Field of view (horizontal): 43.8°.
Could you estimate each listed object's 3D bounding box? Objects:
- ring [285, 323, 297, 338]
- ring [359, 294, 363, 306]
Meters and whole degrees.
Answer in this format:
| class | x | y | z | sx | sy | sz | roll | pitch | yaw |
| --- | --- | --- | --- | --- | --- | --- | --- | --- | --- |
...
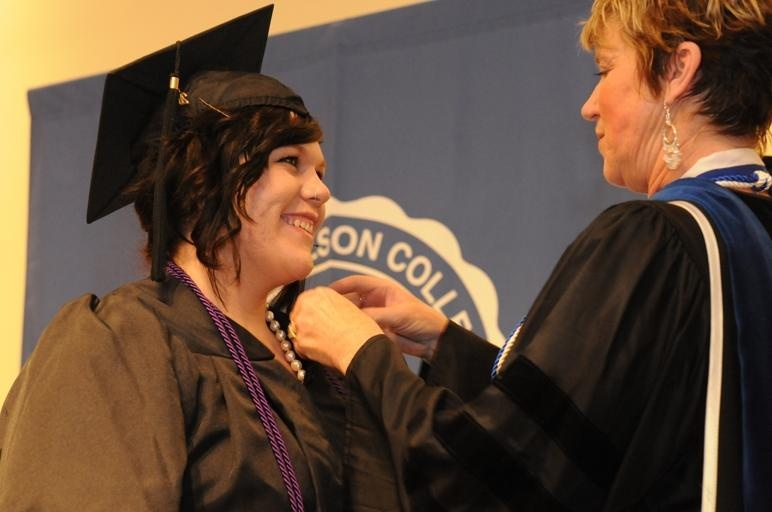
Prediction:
| class | x | y | z | sx | sy | sz | roll | pitch | yaw |
| --- | --- | --- | --- | --- | --- | --- | --- | --- | --- |
| ring | -0.251 | 0.203 | 2.559 | 0.016 | 0.049 | 0.037 | -3 | 15 | 20 |
| ring | -0.073 | 0.133 | 2.816 | 0.007 | 0.024 | 0.018 | -4 | 23 | -1 |
